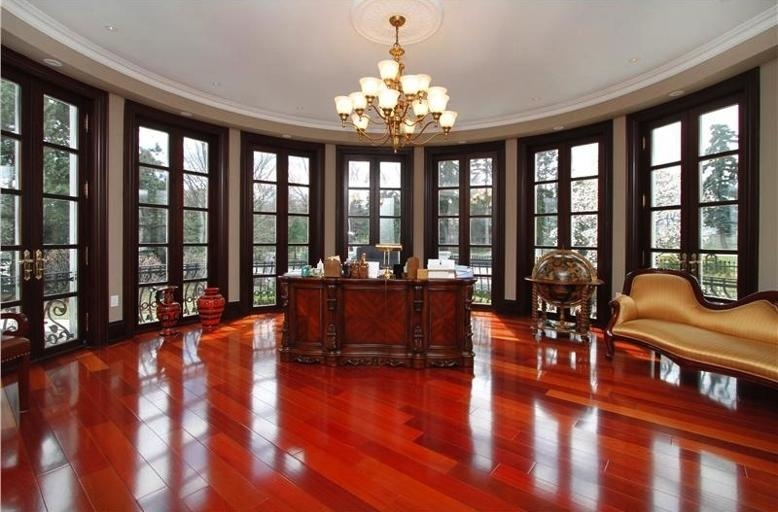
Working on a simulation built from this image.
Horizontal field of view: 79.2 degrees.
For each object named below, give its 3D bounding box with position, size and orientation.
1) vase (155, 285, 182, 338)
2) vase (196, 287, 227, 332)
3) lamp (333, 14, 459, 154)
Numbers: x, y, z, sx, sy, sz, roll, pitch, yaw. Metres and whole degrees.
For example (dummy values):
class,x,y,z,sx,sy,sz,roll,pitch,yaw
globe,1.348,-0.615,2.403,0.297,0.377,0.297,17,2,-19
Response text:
class,x,y,z,sx,sy,sz,roll,pitch,yaw
vase,-3.420,0.829,7.275,0.321,0.759,0.481,-4,9,-27
vase,-2.920,0.860,7.704,0.395,0.630,0.715,1,8,2
lamp,0.102,-2.099,6.469,1.657,1.848,1.619,1,1,5
